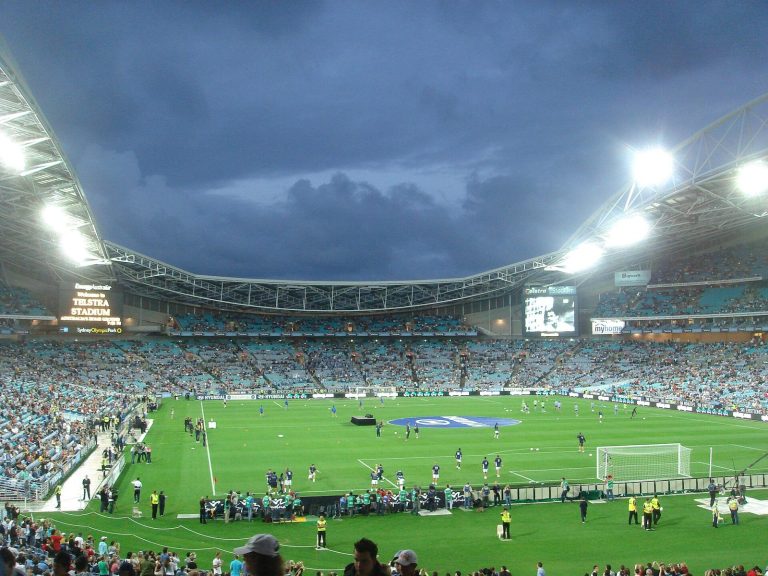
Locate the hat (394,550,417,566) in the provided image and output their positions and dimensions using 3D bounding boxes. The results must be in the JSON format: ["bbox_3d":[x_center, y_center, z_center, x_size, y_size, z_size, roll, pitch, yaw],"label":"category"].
[{"bbox_3d":[0.453,5.857,13.692,0.488,0.212,0.332,3,-4,3],"label":"hat"}]

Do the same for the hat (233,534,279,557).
[{"bbox_3d":[-2.456,4.962,12.124,0.880,0.282,0.493,1,-9,3],"label":"hat"}]
